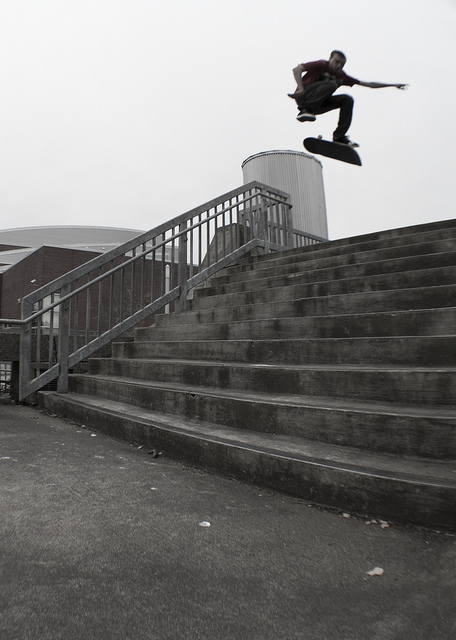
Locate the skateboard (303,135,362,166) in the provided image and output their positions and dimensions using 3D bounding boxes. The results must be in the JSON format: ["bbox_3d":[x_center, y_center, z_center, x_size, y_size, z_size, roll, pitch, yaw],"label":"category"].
[{"bbox_3d":[1.441,-2.383,6.562,0.902,0.312,0.394,0,-2,-16],"label":"skateboard"}]

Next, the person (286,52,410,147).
[{"bbox_3d":[1.398,-3.073,5.988,1.058,1.292,0.988,1,-2,-41],"label":"person"}]
